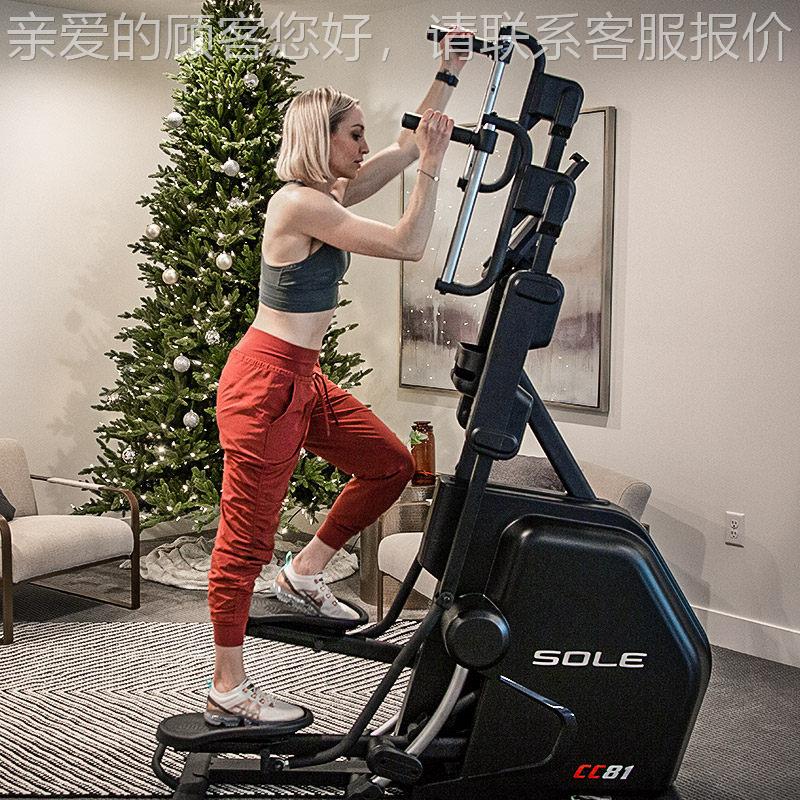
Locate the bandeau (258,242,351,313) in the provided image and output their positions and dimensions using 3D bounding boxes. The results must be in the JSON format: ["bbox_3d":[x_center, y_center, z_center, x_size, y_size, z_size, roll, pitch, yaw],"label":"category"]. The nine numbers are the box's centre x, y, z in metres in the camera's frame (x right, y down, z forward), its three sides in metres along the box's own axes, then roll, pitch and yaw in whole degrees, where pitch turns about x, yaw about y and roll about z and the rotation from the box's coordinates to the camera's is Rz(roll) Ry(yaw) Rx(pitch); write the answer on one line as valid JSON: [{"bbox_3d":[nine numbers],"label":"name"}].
[{"bbox_3d":[-0.232,-0.287,1.812,0.165,0.216,0.212,-1,12,-15],"label":"bandeau"}]

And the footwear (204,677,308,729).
[{"bbox_3d":[-0.346,0.725,1.771,0.251,0.112,0.100,2,-7,-2],"label":"footwear"}]
